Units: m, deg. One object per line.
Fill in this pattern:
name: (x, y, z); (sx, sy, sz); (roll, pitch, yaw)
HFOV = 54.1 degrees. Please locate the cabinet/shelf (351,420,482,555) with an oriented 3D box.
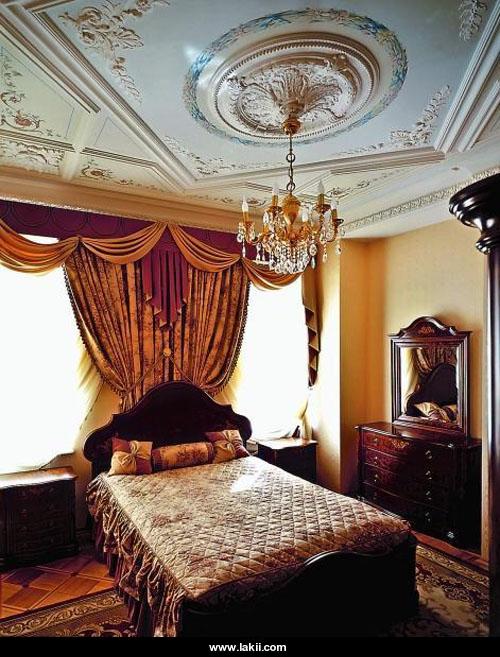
cabinet/shelf: (1.467, 1.313, 4.315); (0.482, 0.774, 1.136); (5, -3, -29)

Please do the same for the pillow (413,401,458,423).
pillow: (1.654, 0.736, 4.321); (0.069, 0.135, 0.196); (-3, 24, -23)

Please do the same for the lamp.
lamp: (0.262, -0.857, 3.024); (0.505, 0.685, 0.470); (-1, 4, -25)

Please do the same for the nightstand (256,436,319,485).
nightstand: (0.430, 1.272, 4.971); (0.611, 0.527, 0.448); (0, 3, -31)

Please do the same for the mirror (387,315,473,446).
mirror: (1.617, 0.474, 4.351); (0.130, 1.428, 1.181); (2, -3, -25)
